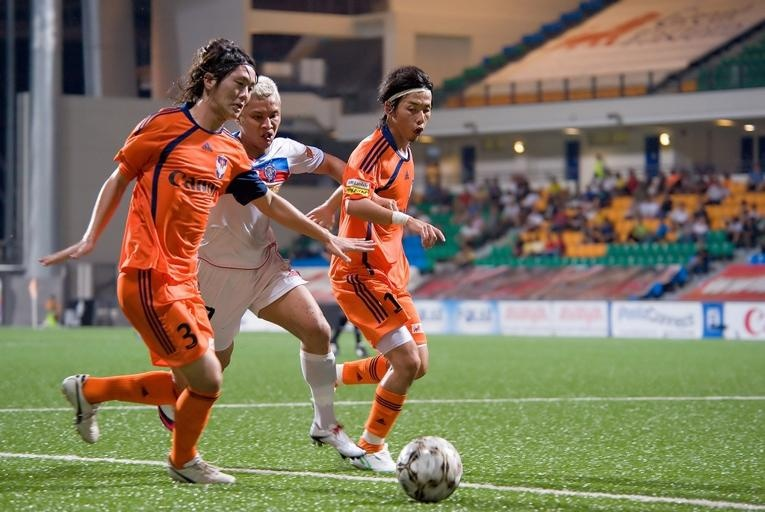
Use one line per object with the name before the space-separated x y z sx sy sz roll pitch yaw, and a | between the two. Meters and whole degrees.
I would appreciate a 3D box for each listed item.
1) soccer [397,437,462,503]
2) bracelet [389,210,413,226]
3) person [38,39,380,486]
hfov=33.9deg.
soccer | 0.314 1.790 10.588 0.607 0.464 0.527 0 -8 -21
bracelet | 0.174 -0.332 11.040 0.179 0.125 0.114 0 9 3
person | -1.662 0.055 10.671 1.804 3.735 0.597 -1 10 -3
